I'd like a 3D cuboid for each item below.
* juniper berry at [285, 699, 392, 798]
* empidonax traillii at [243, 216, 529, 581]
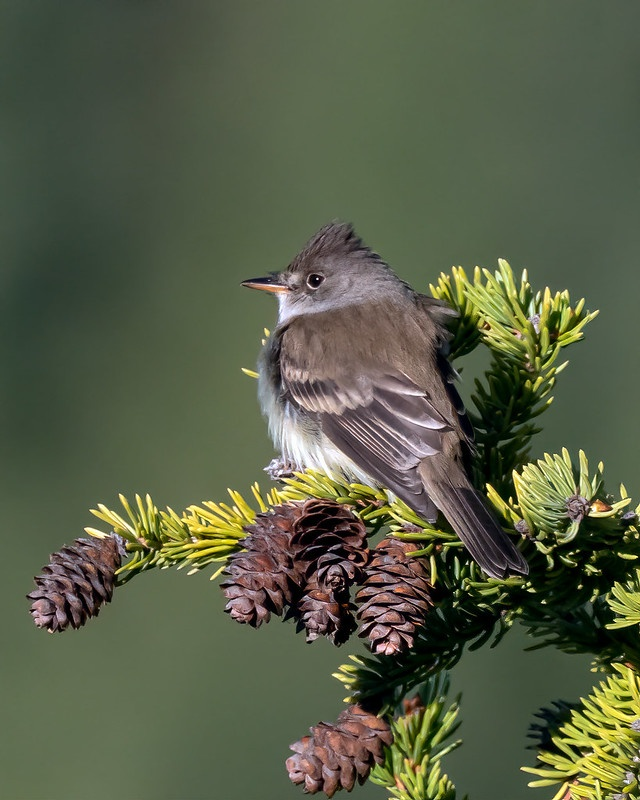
[{"bbox_3d":[0.059,0.842,2.577,0.127,0.239,0.300,-29,-38,33],"label":"juniper berry"},{"bbox_3d":[0.259,-0.039,3.906,0.693,1.789,0.860,-5,-60,-21],"label":"empidonax traillii"}]
